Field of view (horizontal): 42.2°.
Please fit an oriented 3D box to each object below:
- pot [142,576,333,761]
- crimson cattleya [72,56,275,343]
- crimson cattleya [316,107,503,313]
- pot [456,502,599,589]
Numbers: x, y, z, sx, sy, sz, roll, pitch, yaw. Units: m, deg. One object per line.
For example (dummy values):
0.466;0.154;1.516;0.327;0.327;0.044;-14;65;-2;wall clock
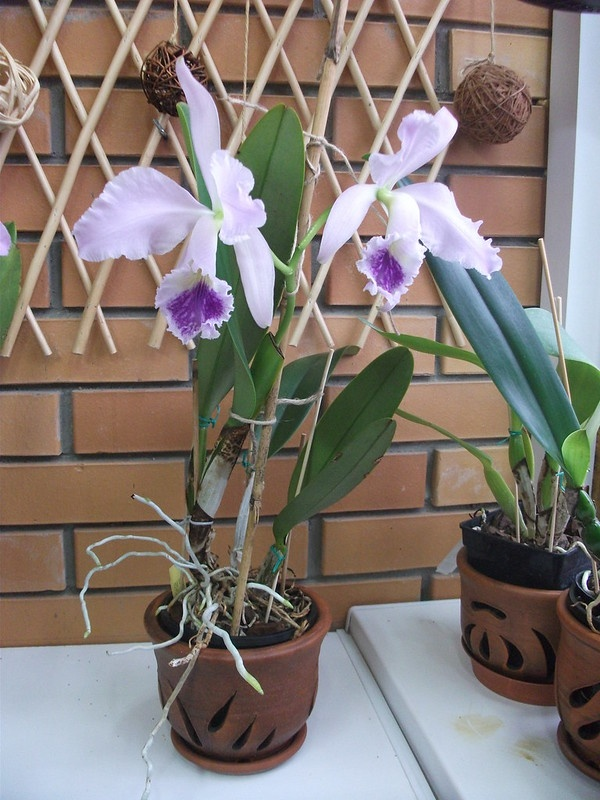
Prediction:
-0.076;0.289;0.837;0.191;0.118;0.173;0;12;1;pot
-0.090;-0.160;0.688;0.199;0.191;0.209;-3;-1;-34;crimson cattleya
0.079;-0.162;0.747;0.199;0.180;0.102;-3;9;-27;crimson cattleya
0.244;0.172;0.899;0.106;0.041;0.076;4;5;34;pot
